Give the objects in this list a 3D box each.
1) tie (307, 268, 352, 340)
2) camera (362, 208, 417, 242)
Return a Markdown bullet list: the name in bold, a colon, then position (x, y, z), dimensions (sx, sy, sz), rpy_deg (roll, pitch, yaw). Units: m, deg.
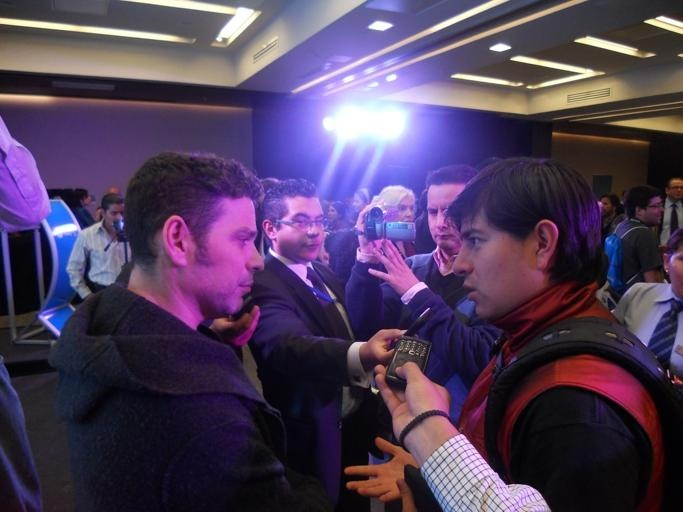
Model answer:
- **tie**: position (-0.061, 0.231, 2.215), dimensions (0.087, 0.080, 0.328), rpy_deg (-10, 31, -7)
- **camera**: position (0.236, -0.149, 2.343), dimensions (0.235, 0.139, 0.145), rpy_deg (3, -2, 12)
